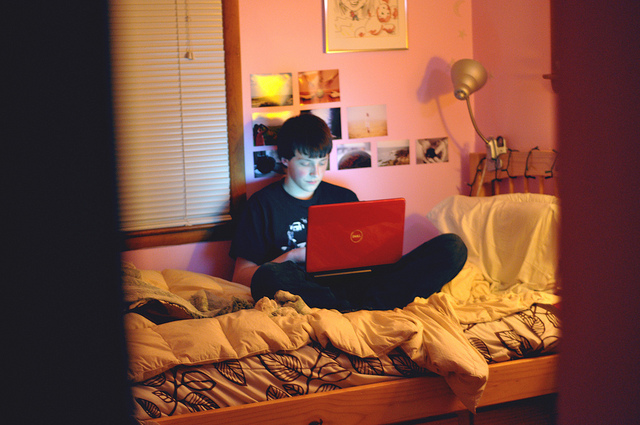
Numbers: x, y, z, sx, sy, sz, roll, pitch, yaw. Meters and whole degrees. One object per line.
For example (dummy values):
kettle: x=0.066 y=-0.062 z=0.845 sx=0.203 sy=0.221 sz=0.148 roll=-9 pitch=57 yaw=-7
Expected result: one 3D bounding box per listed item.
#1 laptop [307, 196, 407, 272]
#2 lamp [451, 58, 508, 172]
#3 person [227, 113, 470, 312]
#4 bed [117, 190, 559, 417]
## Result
laptop: x=0.107 y=0.052 z=1.608 sx=0.316 sy=0.217 sz=0.218 roll=-4 pitch=20 yaw=-13
lamp: x=0.687 y=-0.411 z=2.316 sx=0.241 sy=0.488 sz=0.252 roll=-1 pitch=8 yaw=7
person: x=0.003 y=0.050 z=2.138 sx=0.895 sy=0.795 sz=0.638 roll=-6 pitch=10 yaw=-28
bed: x=0.154 y=0.266 z=1.455 sx=1.083 sy=0.447 sz=0.652 roll=-11 pitch=15 yaw=-12
